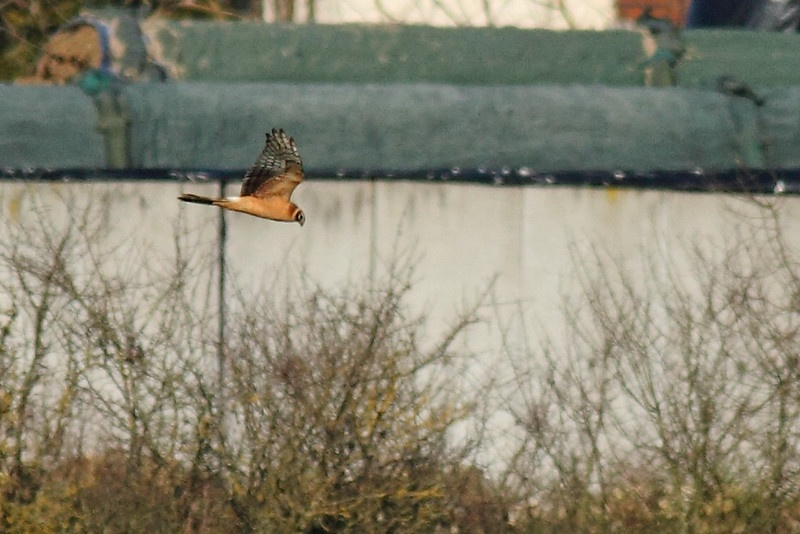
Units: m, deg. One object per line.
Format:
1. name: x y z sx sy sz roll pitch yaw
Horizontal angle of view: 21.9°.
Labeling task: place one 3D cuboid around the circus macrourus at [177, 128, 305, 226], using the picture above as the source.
1. circus macrourus: -2.428 -1.334 33.596 1.560 1.911 0.953 18 -36 7
